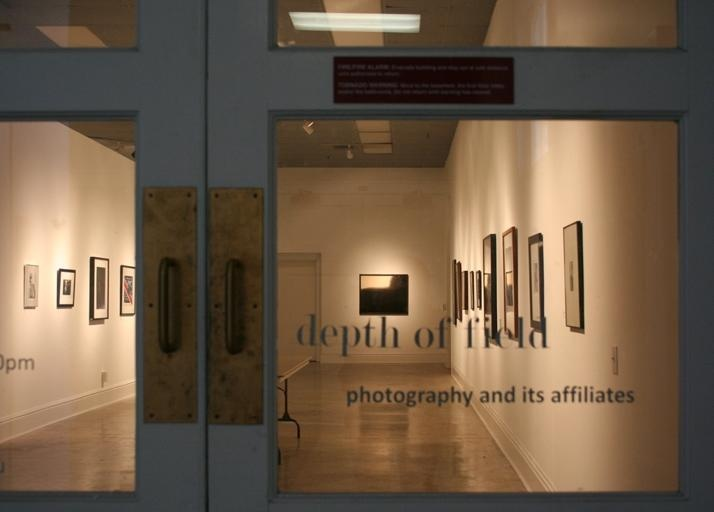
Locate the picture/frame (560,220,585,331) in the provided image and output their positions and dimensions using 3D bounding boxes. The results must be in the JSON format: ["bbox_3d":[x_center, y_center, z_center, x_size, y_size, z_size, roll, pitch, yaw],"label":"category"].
[{"bbox_3d":[0.949,0.096,3.072,0.037,0.456,0.102,1,-4,-21],"label":"picture/frame"}]
